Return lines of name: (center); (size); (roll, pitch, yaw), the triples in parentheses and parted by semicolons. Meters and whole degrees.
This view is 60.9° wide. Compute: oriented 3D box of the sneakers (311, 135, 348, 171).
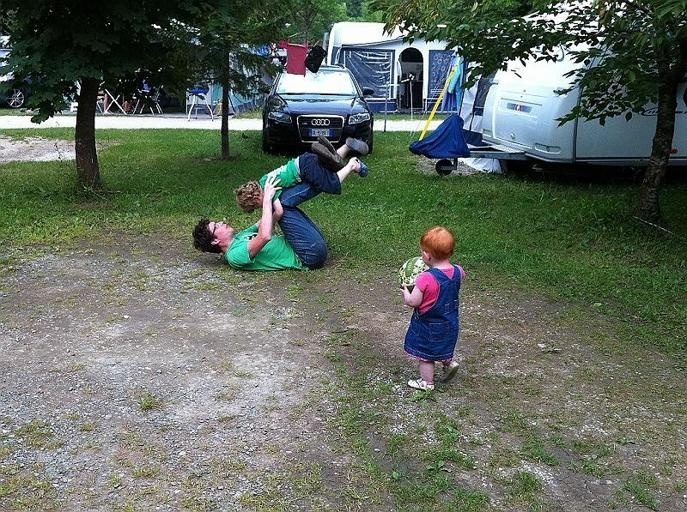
sneakers: (-0.189, -1.128, 6.550); (0.281, 0.431, 0.155); (-47, 20, -9)

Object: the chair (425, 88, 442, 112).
chair: (3.772, -6.608, 24.963); (0.599, 0.984, 1.098); (3, 16, 6)

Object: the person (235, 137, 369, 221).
person: (-0.427, -0.871, 6.566); (1.575, 0.594, 0.889); (-24, 13, -7)

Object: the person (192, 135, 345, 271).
person: (-0.668, -0.439, 6.635); (1.895, 1.235, 0.840); (2, 7, 8)

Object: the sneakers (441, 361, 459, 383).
sneakers: (0.768, 0.841, 4.316); (0.073, 0.212, 0.098); (-20, 60, -35)

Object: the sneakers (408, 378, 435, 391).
sneakers: (0.552, 0.928, 4.221); (0.154, 0.061, 0.081); (7, 6, 30)

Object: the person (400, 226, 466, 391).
person: (0.631, 0.368, 4.173); (0.413, 1.160, 0.385); (11, 19, 30)
